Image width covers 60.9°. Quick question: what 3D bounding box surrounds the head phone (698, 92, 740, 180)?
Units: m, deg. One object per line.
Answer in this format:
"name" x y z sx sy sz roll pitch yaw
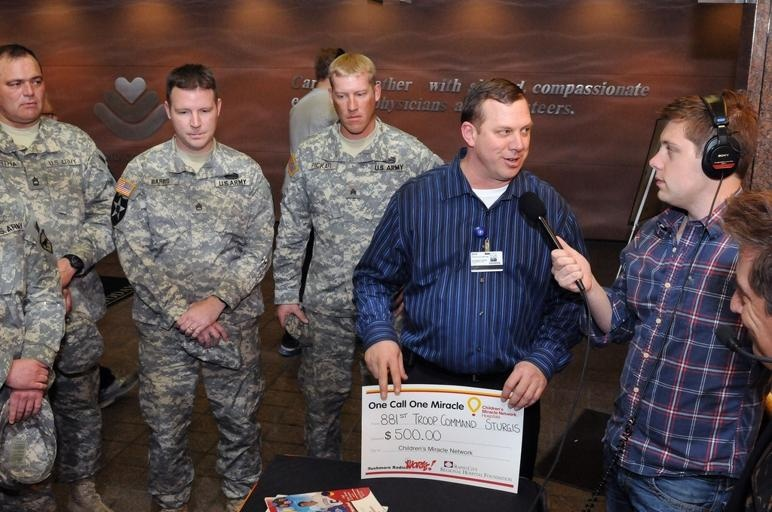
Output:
"head phone" 1.200 -0.445 2.422 0.144 0.264 0.320 -7 17 12

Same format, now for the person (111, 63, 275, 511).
"person" -0.986 0.197 3.390 0.806 2.314 0.585 -2 14 -7

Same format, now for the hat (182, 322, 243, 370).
"hat" -0.865 0.457 3.283 0.253 0.076 0.233 14 4 26

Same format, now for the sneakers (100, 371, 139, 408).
"sneakers" -1.817 0.896 4.391 0.114 0.109 0.300 2 19 25
